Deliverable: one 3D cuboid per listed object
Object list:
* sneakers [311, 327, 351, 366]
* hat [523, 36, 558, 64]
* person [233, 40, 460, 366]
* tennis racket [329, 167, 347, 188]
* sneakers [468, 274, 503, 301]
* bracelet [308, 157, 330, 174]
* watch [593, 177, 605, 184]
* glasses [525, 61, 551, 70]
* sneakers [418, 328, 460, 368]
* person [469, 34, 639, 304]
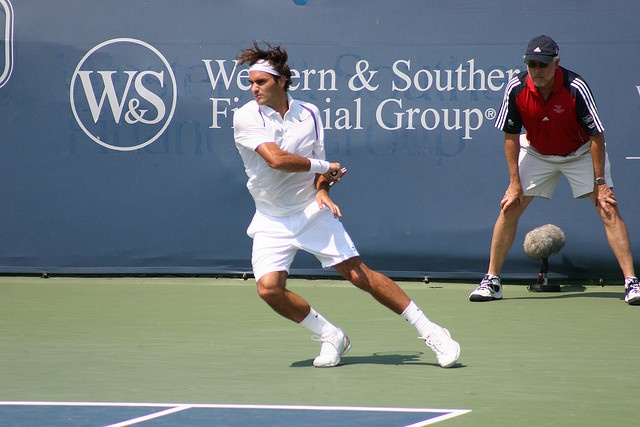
[{"bbox_3d":[0.115,1.024,7.340,0.155,0.178,0.392,-6,24,35],"label":"sneakers"},{"bbox_3d":[1.960,-1.452,8.416,0.206,0.177,0.311,9,20,26],"label":"hat"},{"bbox_3d":[0.035,-0.052,7.304,1.438,2.424,0.697,2,13,9],"label":"person"},{"bbox_3d":[0.151,-0.306,7.991,0.195,0.047,0.195,-34,-8,14],"label":"tennis racket"},{"bbox_3d":[1.599,0.736,9.099,0.157,0.181,0.414,-4,-8,35],"label":"sneakers"},{"bbox_3d":[-0.018,-0.356,7.314,0.173,0.148,0.216,-3,13,-12],"label":"bracelet"},{"bbox_3d":[2.588,-0.293,8.762,0.092,0.064,0.048,3,13,17],"label":"watch"},{"bbox_3d":[1.942,-1.325,8.421,0.187,0.080,0.068,2,13,11],"label":"glasses"},{"bbox_3d":[0.937,1.040,7.186,0.183,0.164,0.421,19,19,-33],"label":"sneakers"},{"bbox_3d":[2.173,-0.390,8.872,1.459,2.496,0.605,1,13,8],"label":"person"}]
